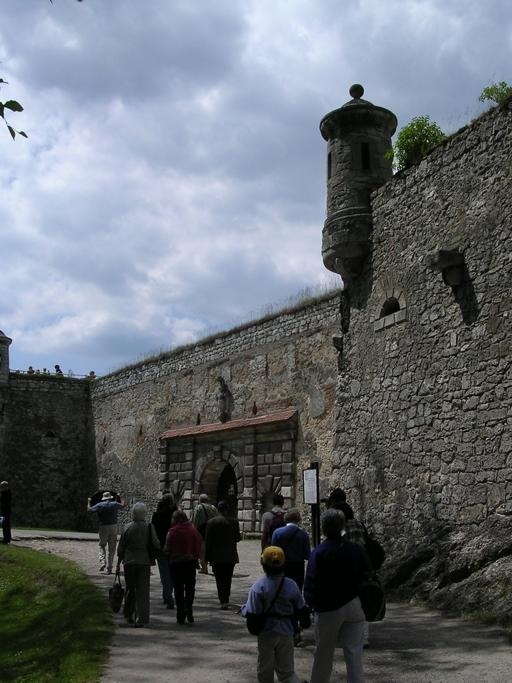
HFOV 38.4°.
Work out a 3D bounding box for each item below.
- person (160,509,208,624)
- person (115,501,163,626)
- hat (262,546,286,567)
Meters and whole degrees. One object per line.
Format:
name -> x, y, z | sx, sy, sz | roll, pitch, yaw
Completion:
person -> -0.794, 2.414, 7.942 | 0.400, 1.112, 0.651 | 0, -11, -4
person -> -1.220, 2.295, 7.654 | 0.443, 1.190, 0.600 | 2, -11, -10
hat -> 0.120, 1.478, 5.082 | 0.115, 0.089, 0.160 | 2, -1, 0
